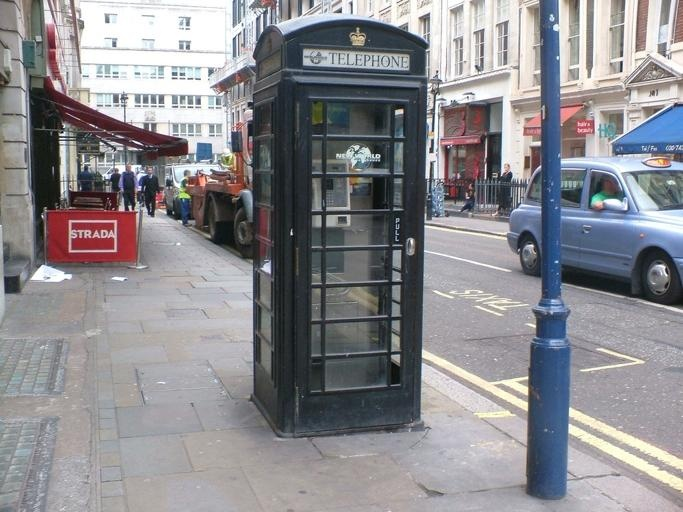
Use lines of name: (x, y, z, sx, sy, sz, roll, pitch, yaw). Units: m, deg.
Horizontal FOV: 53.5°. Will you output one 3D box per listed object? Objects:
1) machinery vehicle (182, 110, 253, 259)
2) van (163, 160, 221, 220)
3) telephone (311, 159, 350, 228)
machinery vehicle: (-3.120, -1.986, 17.824, 1.344, 3.561, 6.342, 0, 9, -12)
van: (-6.094, -2.552, 26.862, 1.958, 1.836, 3.239, -1, 1, -16)
telephone: (-0.070, -0.506, 5.458, 0.330, 0.547, 0.095, 1, 7, -3)
